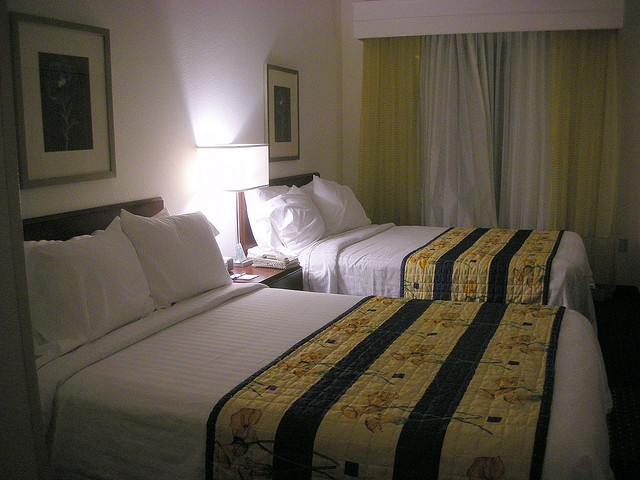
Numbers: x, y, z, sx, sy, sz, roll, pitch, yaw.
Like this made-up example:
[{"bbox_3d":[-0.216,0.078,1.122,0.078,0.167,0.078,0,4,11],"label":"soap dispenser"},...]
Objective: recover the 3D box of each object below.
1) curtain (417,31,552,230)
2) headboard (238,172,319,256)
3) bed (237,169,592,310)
[{"bbox_3d":[1.816,-1.321,5.430,1.952,2.996,0.244,-2,-32,7],"label":"curtain"},{"bbox_3d":[-0.414,-0.245,4.461,0.103,0.600,0.948,19,25,35],"label":"headboard"},{"bbox_3d":[0.755,0.090,3.797,1.933,0.771,1.547,2,15,15],"label":"bed"}]
